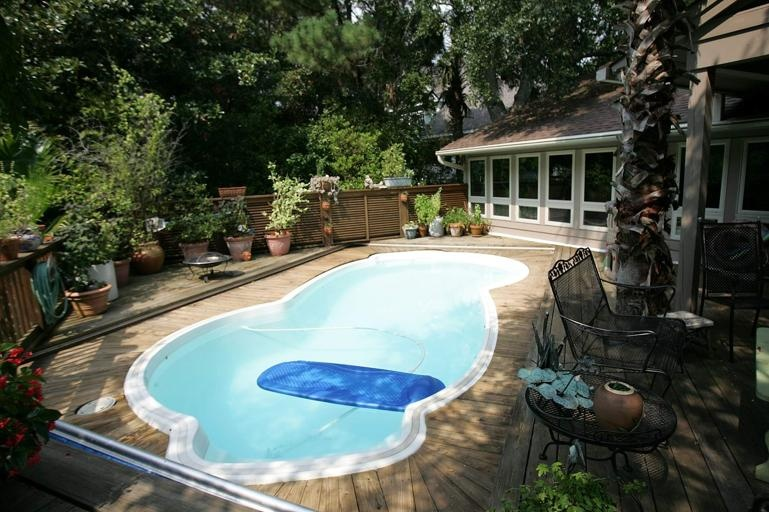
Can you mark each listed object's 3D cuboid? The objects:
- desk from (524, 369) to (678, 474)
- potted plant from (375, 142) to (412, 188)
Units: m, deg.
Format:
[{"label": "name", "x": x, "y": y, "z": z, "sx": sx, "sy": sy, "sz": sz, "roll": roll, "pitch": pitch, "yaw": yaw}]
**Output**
[{"label": "desk", "x": 2.406, "y": 1.793, "z": 5.161, "sx": 1.588, "sy": 0.979, "sz": 0.891, "roll": -4, "pitch": 10, "yaw": -10}, {"label": "potted plant", "x": 0.336, "y": -2.942, "z": 15.650, "sx": 0.997, "sy": 1.384, "sz": 0.971, "roll": 8, "pitch": 15, "yaw": 44}]
